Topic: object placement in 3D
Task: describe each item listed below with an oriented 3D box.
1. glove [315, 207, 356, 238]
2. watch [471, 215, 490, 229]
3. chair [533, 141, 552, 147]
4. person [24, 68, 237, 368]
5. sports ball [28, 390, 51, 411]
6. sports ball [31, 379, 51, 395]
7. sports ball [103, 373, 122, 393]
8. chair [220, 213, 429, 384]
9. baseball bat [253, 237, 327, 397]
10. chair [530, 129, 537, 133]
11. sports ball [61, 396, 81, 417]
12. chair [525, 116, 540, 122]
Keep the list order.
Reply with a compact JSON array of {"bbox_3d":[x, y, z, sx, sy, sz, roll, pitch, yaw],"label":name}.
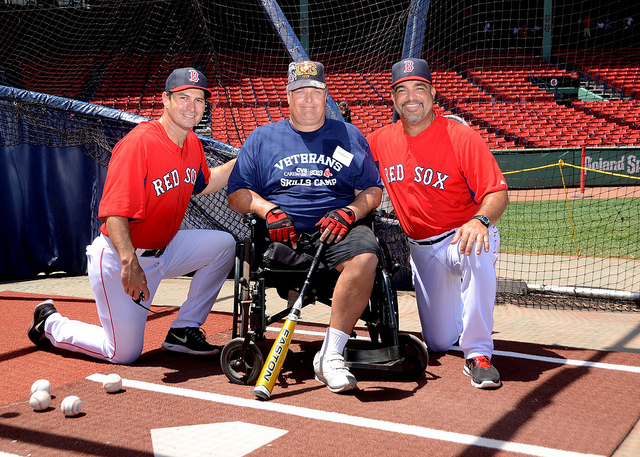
[{"bbox_3d":[0.109,-0.063,3.891,0.220,0.095,0.170,-35,3,-14],"label":"glove"},{"bbox_3d":[1.133,-0.064,3.845,0.092,0.094,0.062,7,35,6],"label":"watch"},{"bbox_3d":[6.903,-2.618,17.200,0.489,0.172,0.244,3,9,21],"label":"chair"},{"bbox_3d":[-1.326,-0.109,4.271,1.453,2.225,0.826,-5,9,-26],"label":"person"},{"bbox_3d":[-1.738,1.057,3.457,0.116,0.119,0.114,11,36,-8],"label":"sports ball"},{"bbox_3d":[-1.824,1.044,3.629,0.094,0.092,0.110,-36,-35,21],"label":"sports ball"},{"bbox_3d":[-1.384,1.031,3.709,0.120,0.106,0.104,-4,9,-23],"label":"sports ball"},{"bbox_3d":[-0.015,0.639,4.396,0.954,1.475,1.549,3,-15,-7],"label":"chair"},{"bbox_3d":[-0.217,0.645,3.856,0.148,0.145,1.157,26,47,-3],"label":"baseball bat"},{"bbox_3d":[6.817,-3.116,17.727,0.207,0.103,0.209,3,9,19],"label":"chair"},{"bbox_3d":[-1.513,1.077,3.432,0.103,0.108,0.107,5,38,-4],"label":"sports ball"},{"bbox_3d":[7.034,-3.617,18.349,0.448,0.194,0.269,-1,9,-4],"label":"chair"}]
